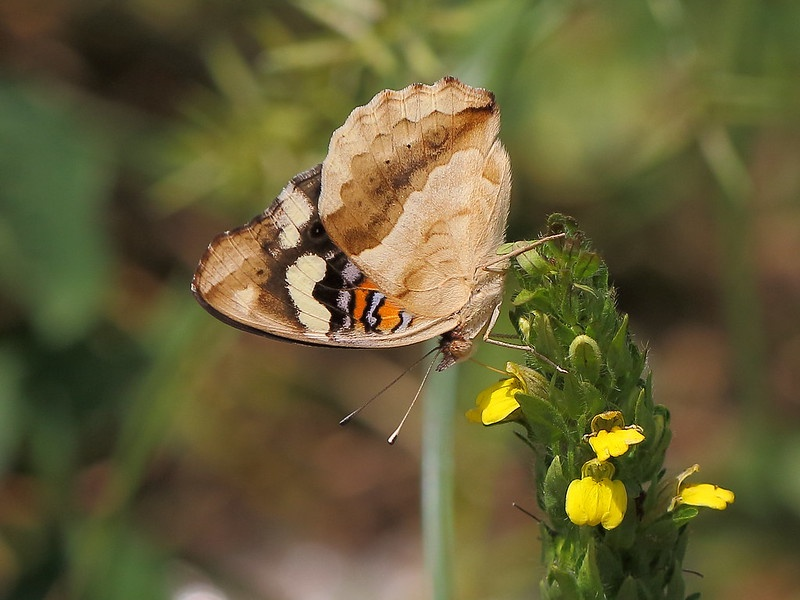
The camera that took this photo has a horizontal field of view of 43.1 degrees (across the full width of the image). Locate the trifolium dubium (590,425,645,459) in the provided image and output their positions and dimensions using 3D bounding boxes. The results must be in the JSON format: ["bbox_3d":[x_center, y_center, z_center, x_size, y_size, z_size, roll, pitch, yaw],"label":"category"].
[{"bbox_3d":[0.543,0.353,2.513,0.139,0.053,0.066,-9,20,-11],"label":"trifolium dubium"}]

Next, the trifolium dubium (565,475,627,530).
[{"bbox_3d":[0.493,0.517,2.530,0.151,0.143,0.065,-3,19,6],"label":"trifolium dubium"}]

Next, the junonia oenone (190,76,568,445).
[{"bbox_3d":[-0.121,-0.187,2.898,0.883,0.798,0.294,-1,19,11],"label":"junonia oenone"}]

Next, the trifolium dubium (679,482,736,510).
[{"bbox_3d":[0.790,0.512,2.597,0.105,0.023,0.074,11,39,14],"label":"trifolium dubium"}]
